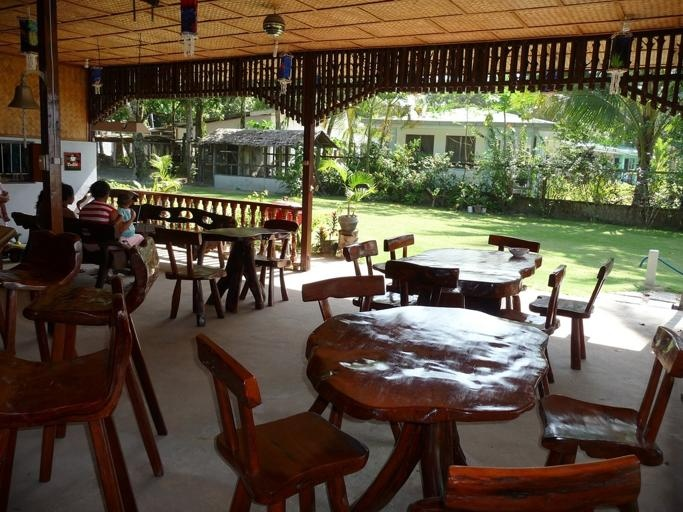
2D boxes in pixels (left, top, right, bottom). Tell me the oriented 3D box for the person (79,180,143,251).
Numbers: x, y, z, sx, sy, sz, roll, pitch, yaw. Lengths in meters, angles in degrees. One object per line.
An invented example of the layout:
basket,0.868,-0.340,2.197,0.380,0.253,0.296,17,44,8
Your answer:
person,-2.961,-0.476,6.312,0.839,0.962,0.961,3,11,-18

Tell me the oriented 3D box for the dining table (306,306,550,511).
dining table,0.478,0.709,2.556,1.205,0.790,1.170,5,12,25

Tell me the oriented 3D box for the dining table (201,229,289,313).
dining table,-1.285,0.160,6.123,0.921,0.857,1.021,0,5,-40

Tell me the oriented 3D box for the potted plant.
potted plant,0.233,-1.210,10.014,1.215,1.321,1.132,-14,22,-35
